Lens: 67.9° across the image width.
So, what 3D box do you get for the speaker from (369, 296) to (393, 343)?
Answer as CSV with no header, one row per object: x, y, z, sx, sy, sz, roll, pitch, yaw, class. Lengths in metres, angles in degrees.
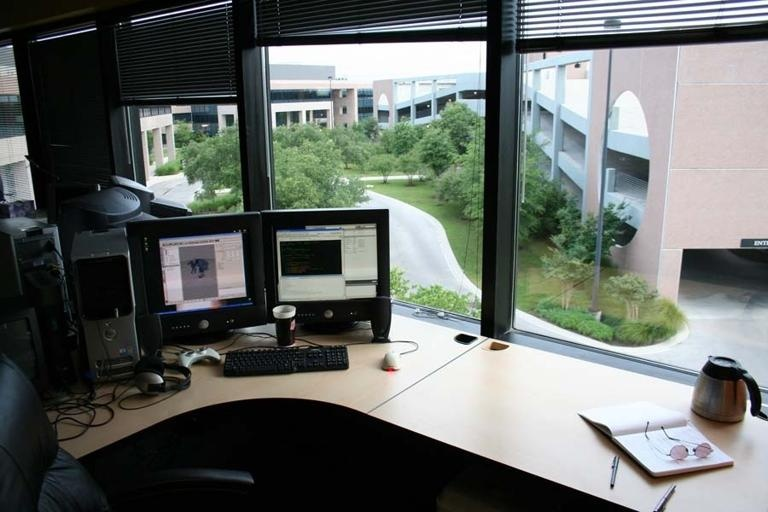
-0.023,0.331,3.127,0.126,0.239,0.131,-10,-2,0,speaker

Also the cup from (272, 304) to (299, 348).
-0.534,0.384,3.080,0.140,0.185,0.135,-1,4,0,cup

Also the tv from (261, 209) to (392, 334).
-0.319,0.133,3.280,0.692,0.685,0.414,-3,-10,-6,tv

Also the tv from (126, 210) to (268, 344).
-1.017,0.090,3.181,0.637,0.601,0.348,-5,7,-17,tv

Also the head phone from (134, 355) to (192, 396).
-1.056,0.561,2.710,0.215,0.093,0.180,6,24,-31,head phone
